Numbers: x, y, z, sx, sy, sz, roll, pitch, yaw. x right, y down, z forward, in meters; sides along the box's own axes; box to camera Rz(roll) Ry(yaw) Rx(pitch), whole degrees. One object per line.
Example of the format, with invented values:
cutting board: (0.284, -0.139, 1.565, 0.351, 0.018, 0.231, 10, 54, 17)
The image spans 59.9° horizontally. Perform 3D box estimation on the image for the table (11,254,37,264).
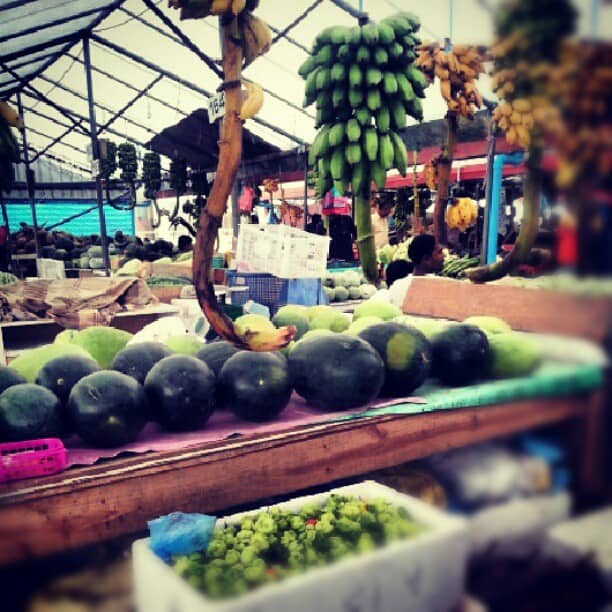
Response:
table: (-6.192, -1.034, 11.704, 0.472, 0.196, 0.258, -6, 10, -23)

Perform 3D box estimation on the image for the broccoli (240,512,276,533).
broccoli: (-0.113, 0.504, 1.260, 0.048, 0.031, 0.040, 4, -9, 31)

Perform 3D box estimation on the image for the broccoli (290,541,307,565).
broccoli: (-0.020, 0.551, 1.201, 0.026, 0.024, 0.049, 25, 8, -8)

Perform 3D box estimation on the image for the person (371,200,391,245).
person: (1.392, -1.546, 9.939, 0.315, 0.805, 0.950, 0, 9, 8)

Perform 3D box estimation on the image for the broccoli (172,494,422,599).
broccoli: (-0.048, 0.527, 1.191, 0.356, 0.097, 0.207, -6, 2, -29)

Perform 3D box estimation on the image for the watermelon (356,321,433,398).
watermelon: (0.269, 0.140, 1.729, 0.190, 0.250, 0.211, -2, 12, -17)

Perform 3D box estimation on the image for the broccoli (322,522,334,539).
broccoli: (0.049, 0.521, 1.239, 0.020, 0.020, 0.029, -5, 1, -4)

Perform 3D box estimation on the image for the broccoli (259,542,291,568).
broccoli: (-0.068, 0.561, 1.205, 0.040, 0.018, 0.045, 4, 7, 16)

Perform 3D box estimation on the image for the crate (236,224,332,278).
crate: (-0.140, -0.345, 3.372, 0.560, 0.342, 0.473, -11, 13, -42)

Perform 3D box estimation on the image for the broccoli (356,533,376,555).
broccoli: (0.137, 0.526, 1.180, 0.035, 0.034, 0.051, -5, -1, 4)

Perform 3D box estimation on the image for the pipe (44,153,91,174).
pipe: (-10.518, -6.311, 23.979, 1.217, 0.559, 1.493, -5, 10, -16)

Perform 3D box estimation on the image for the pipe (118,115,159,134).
pipe: (-5.359, -5.819, 17.083, 0.962, 0.442, 0.951, 6, 12, 38)

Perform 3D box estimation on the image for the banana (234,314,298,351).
banana: (-0.130, 0.106, 1.551, 0.167, 0.086, 0.110, 5, 26, 39)

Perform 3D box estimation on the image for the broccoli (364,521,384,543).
broccoli: (0.164, 0.529, 1.247, 0.025, 0.015, 0.037, -14, 0, 0)

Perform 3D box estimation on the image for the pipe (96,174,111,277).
pipe: (-3.060, -1.210, 8.027, 0.124, 1.787, 0.125, -15, -15, 31)

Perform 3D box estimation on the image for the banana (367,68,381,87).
banana: (0.478, -1.623, 3.828, 0.094, 0.119, 0.104, 2, -13, -17)

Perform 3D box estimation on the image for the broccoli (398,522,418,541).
broccoli: (0.233, 0.504, 1.201, 0.025, 0.014, 0.036, -1, 6, 3)

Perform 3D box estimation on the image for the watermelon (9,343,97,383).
watermelon: (-0.807, 0.159, 1.680, 0.144, 0.126, 0.202, -8, 1, 22)

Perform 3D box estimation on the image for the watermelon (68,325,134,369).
watermelon: (-0.764, 0.120, 1.978, 0.202, 0.162, 0.192, -3, 10, -14)

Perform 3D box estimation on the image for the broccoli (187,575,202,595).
broccoli: (-0.212, 0.524, 1.014, 0.032, 0.029, 0.045, 0, 1, -17)

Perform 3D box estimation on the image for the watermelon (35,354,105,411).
watermelon: (-0.654, 0.172, 1.462, 0.129, 0.140, 0.192, -8, 17, -30)

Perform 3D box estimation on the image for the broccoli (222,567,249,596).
broccoli: (-0.137, 0.528, 1.024, 0.027, 0.020, 0.045, -1, -1, -1)

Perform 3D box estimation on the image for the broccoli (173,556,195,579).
broccoli: (-0.249, 0.523, 1.068, 0.022, 0.022, 0.032, 3, 4, 4)

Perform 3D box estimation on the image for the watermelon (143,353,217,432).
watermelon: (-0.333, 0.192, 1.391, 0.162, 0.207, 0.182, -3, 13, -17)

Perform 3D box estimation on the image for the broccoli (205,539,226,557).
broccoli: (-0.195, 0.526, 1.152, 0.023, 0.032, 0.031, 21, 54, 19)

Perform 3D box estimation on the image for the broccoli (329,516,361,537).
broccoli: (0.097, 0.520, 1.255, 0.040, 0.033, 0.052, 22, -4, -41)

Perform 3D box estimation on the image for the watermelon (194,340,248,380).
watermelon: (-0.286, 0.151, 1.677, 0.107, 0.095, 0.150, 0, 5, 1)
